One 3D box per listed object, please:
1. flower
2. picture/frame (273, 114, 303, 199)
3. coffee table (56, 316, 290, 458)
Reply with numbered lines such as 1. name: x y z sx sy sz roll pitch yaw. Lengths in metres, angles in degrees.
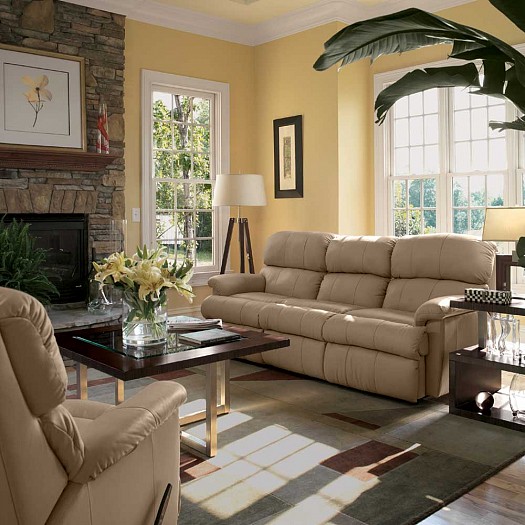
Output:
1. flower: -0.598 0.154 2.494 0.553 0.444 0.496 1 -5 -8
2. picture/frame: 0.298 -1.263 5.675 0.025 0.950 0.610 -9 14 -30
3. coffee table: -0.640 0.551 2.431 0.879 0.430 0.879 3 5 43
